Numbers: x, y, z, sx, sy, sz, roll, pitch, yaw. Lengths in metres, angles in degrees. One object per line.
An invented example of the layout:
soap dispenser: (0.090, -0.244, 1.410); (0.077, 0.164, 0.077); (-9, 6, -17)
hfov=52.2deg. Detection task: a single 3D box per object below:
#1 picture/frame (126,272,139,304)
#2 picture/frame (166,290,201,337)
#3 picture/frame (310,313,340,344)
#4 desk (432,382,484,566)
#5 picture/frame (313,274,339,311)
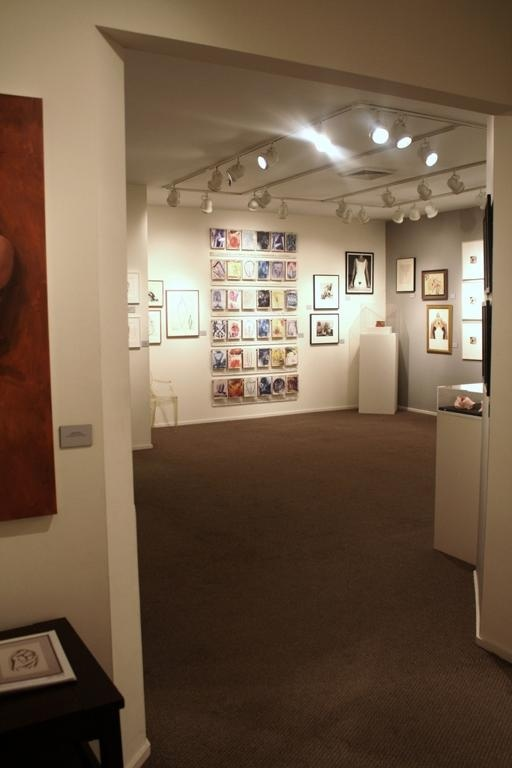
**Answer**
picture/frame: (-1.773, -1.390, 7.581); (0.149, 0.460, 0.111); (-3, 6, -15)
picture/frame: (-1.264, -1.219, 8.848); (0.656, 1.018, 0.039); (-3, 3, -37)
picture/frame: (1.305, -1.089, 10.153); (0.474, 0.568, 0.034); (-7, 9, -26)
desk: (1.491, 0.665, 3.782); (0.260, 1.299, 0.628); (-2, 7, -10)
picture/frame: (1.325, -1.804, 10.105); (0.601, 0.874, 0.055); (-2, 7, -29)
